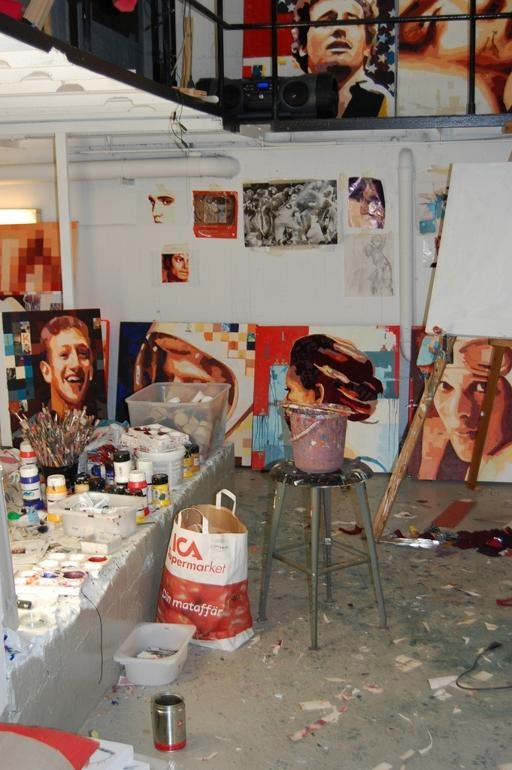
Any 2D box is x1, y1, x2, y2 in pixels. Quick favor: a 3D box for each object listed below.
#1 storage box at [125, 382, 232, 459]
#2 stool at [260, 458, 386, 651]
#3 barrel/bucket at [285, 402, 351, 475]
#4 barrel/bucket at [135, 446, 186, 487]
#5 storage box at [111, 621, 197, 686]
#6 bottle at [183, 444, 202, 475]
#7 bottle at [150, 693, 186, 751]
[{"bbox_3d":[-0.387,0.260,3.748,0.576,0.444,0.701,1,9,-4],"label":"storage box"},{"bbox_3d":[0.270,0.654,2.594,0.463,0.644,0.467,-1,0,-15],"label":"stool"},{"bbox_3d":[0.241,0.206,2.531,0.268,0.274,0.253,0,8,0],"label":"barrel/bucket"},{"bbox_3d":[-0.445,0.358,2.923,0.180,0.140,0.192,1,7,0],"label":"barrel/bucket"},{"bbox_3d":[-0.344,0.920,2.176,0.232,0.104,0.297,4,5,12],"label":"storage box"},{"bbox_3d":[-0.311,0.379,3.221,0.122,0.129,0.121,2,6,17],"label":"bottle"},{"bbox_3d":[-0.250,0.964,1.817,0.091,0.116,0.145,-1,3,-18],"label":"bottle"}]
